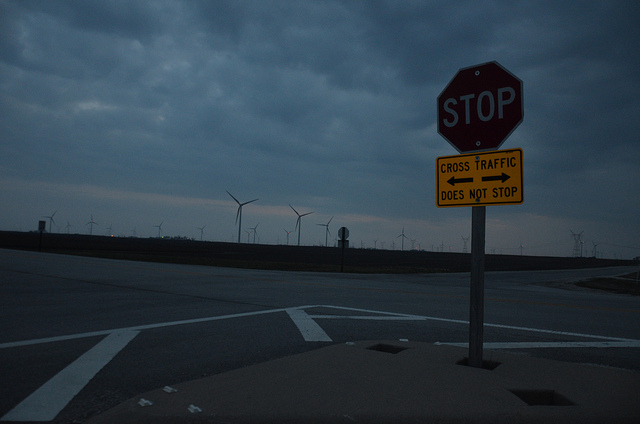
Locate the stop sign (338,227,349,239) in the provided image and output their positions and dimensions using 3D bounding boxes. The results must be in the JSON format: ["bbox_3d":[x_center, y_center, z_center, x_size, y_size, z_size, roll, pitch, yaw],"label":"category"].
[{"bbox_3d":[1.499,1.332,29.472,0.551,0.704,1.340,2,-5,1],"label":"stop sign"}]
